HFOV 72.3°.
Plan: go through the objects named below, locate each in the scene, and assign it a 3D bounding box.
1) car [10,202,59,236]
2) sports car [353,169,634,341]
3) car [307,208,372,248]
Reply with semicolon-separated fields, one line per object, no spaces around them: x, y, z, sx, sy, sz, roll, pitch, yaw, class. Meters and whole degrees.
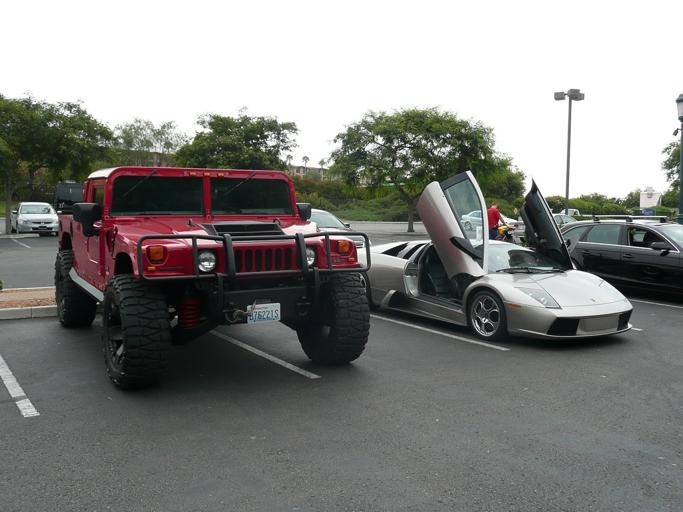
-18.233;-2.273;27.724;2.143;1.939;3.419;-3;6;-33;car
2.460;-0.173;8.486;2.584;2.260;4.607;-5;6;-40;sports car
-0.144;-0.948;14.425;1.029;0.761;2.328;-2;2;-19;car
